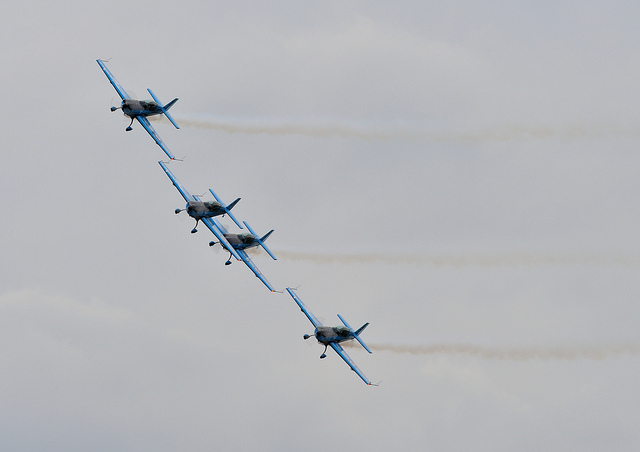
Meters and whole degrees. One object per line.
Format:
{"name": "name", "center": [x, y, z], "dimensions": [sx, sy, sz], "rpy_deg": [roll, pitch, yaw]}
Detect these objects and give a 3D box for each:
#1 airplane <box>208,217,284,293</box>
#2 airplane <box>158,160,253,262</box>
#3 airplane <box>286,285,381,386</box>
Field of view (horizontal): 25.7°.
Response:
{"name": "airplane", "center": [-6.382, 1.564, 107.861], "dimensions": [4.304, 6.979, 1.907], "rpy_deg": [-20, -34, -41]}
{"name": "airplane", "center": [-8.376, -0.390, 108.719], "dimensions": [4.566, 8.742, 7.875], "rpy_deg": [7, -72, 6]}
{"name": "airplane", "center": [1.604, 10.134, 131.596], "dimensions": [6.256, 14.102, 3.449], "rpy_deg": [6, -56, -48]}
